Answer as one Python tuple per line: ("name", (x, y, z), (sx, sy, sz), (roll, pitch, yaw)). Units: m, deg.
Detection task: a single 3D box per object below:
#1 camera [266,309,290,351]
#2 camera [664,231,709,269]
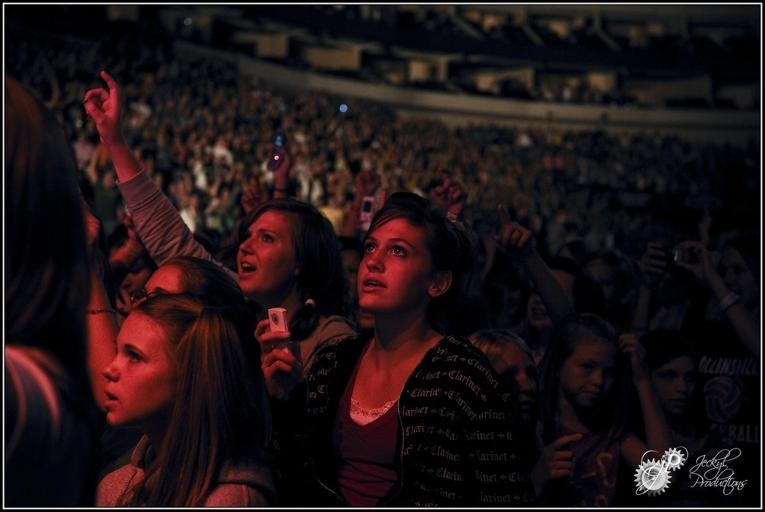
("camera", (-0.693, 0.484, 6.208), (0.176, 0.264, 0.222), (11, -18, -6))
("camera", (2.450, -0.038, 7.375), (0.319, 0.319, 0.186), (-2, -6, 20))
